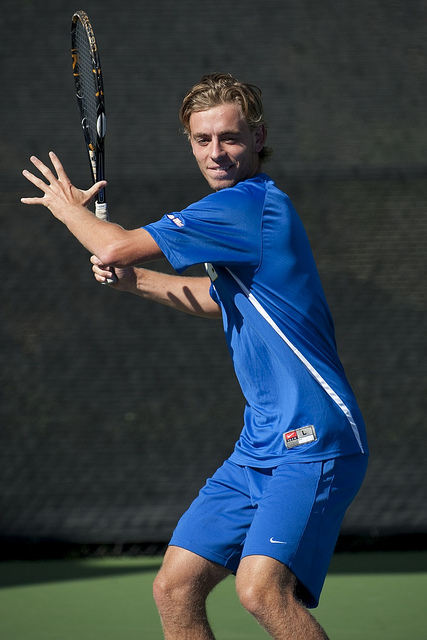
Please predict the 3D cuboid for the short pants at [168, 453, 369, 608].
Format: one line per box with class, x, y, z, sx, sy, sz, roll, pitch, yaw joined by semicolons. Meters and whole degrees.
short pants;0.160;0.415;1.721;0.396;0.283;0.432;-16;45;45
